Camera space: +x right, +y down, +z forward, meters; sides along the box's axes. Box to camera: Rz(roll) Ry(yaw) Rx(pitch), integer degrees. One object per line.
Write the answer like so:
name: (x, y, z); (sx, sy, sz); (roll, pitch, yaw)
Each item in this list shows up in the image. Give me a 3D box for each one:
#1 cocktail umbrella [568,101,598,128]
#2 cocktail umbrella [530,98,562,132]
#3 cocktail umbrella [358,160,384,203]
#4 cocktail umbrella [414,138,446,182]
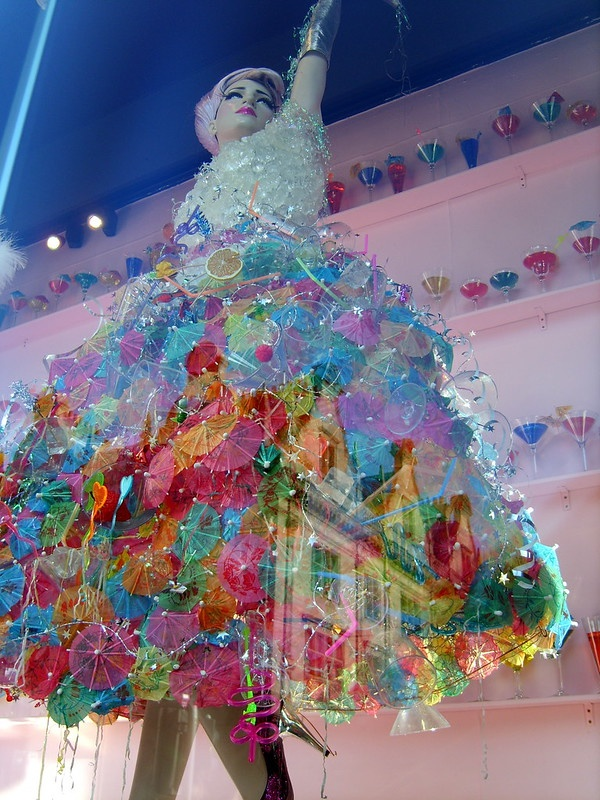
cocktail umbrella: (0.955, -0.973, 2.462); (0.094, 0.064, 0.080); (1, -50, 12)
cocktail umbrella: (0.852, -1.000, 2.560); (0.102, 0.077, 0.094); (4, -36, -2)
cocktail umbrella: (0.275, -0.886, 2.883); (0.132, 0.151, 0.121); (-1, -68, 5)
cocktail umbrella: (0.494, -0.937, 2.819); (0.142, 0.111, 0.134); (4, -38, 6)
